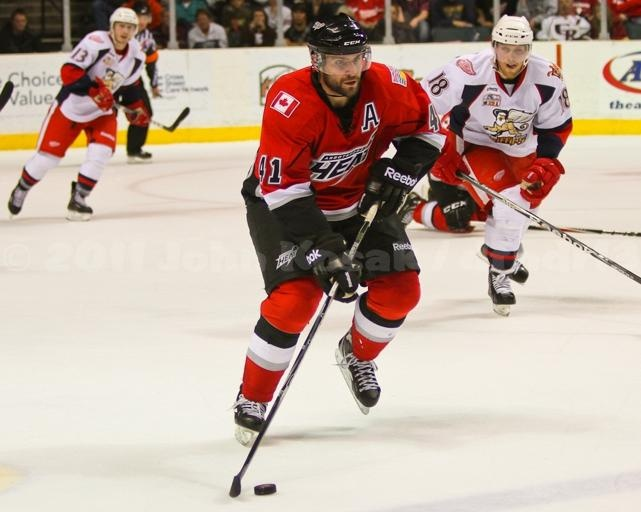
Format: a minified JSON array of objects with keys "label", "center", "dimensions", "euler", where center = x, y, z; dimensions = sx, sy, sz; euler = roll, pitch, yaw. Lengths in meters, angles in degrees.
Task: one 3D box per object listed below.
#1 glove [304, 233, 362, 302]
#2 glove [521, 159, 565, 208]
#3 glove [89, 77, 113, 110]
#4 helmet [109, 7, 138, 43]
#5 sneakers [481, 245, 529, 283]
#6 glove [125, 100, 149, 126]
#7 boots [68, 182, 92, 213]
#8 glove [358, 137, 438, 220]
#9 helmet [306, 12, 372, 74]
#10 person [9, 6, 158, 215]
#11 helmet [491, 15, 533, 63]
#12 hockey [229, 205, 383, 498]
[{"label":"glove","center":[0.031,0.036,2.290],"dimensions":[0.213,0.157,0.091],"euler":[44,14,3]},{"label":"glove","center":[1.069,-0.360,3.673],"dimensions":[0.117,0.255,0.155],"euler":[30,17,-52]},{"label":"glove","center":[-1.725,-1.230,5.712],"dimensions":[0.236,0.092,0.187],"euler":[49,10,2]},{"label":"helmet","center":[-1.686,-1.854,6.047],"dimensions":[0.282,0.270,0.322],"euler":[-5,14,-25]},{"label":"sneakers","center":[0.952,0.044,3.911],"dimensions":[0.269,0.072,0.171],"euler":[16,-2,18]},{"label":"glove","center":[-1.718,-1.322,6.949],"dimensions":[0.209,0.232,0.095],"euler":[-23,25,-3]},{"label":"boots","center":[-1.855,-0.435,5.747],"dimensions":[0.165,0.259,0.195],"euler":[-1,17,-14]},{"label":"glove","center":[0.262,-0.279,2.506],"dimensions":[0.222,0.307,0.099],"euler":[12,-27,16]},{"label":"helmet","center":[0.043,-0.655,2.348],"dimensions":[0.198,0.171,0.182],"euler":[7,17,13]},{"label":"person","center":[-1.835,-1.143,5.872],"dimensions":[0.614,1.579,1.167],"euler":[9,18,18]},{"label":"helmet","center":[0.908,-1.058,3.617],"dimensions":[0.184,0.183,0.203],"euler":[4,24,7]},{"label":"hockey","center":[-0.036,0.326,2.434],"dimensions":[0.112,1.054,0.097],"euler":[37,-8,13]}]
